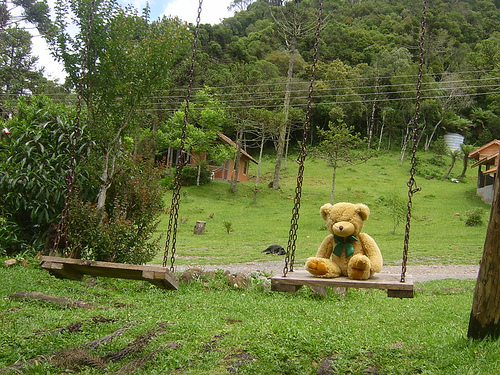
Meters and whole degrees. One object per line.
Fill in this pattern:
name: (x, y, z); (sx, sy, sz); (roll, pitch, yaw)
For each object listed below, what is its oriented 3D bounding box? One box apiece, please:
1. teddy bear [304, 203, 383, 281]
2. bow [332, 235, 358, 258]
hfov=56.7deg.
teddy bear: (1.875, 1.038, 9.241); (1.475, 1.467, 1.300); (-4, -1, 35)
bow: (1.861, 1.145, 9.207); (0.514, 0.520, 0.079); (3, -31, 13)
